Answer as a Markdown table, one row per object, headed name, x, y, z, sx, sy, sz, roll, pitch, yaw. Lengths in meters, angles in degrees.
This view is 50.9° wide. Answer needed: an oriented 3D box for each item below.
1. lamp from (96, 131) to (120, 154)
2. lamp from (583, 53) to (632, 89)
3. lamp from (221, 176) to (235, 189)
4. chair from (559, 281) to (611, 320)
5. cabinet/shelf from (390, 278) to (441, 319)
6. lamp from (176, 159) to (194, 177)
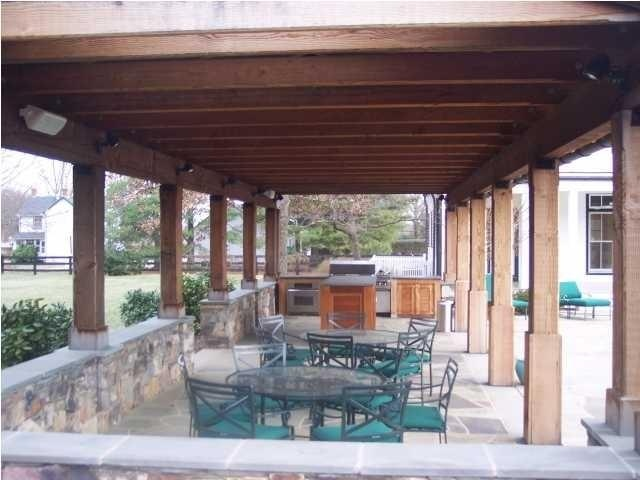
| name | x | y | z | sx | sy | sz | roll | pitch | yaw |
| --- | --- | --- | --- | --- | --- | --- | --- | --- | --- |
| lamp | -2.035 | -0.941 | 6.414 | 0.207 | 0.215 | 0.131 | 2 | 3 | 8 |
| lamp | 1.860 | -1.095 | 4.373 | 0.293 | 0.186 | 0.214 | 2 | -3 | -38 |
| lamp | -1.355 | -0.888 | 9.861 | 0.143 | 0.156 | 0.275 | -15 | 11 | -3 |
| chair | 5.157 | 1.146 | 13.254 | 0.879 | 1.001 | 1.125 | 1 | -5 | -16 |
| cabinet/shelf | 1.888 | 1.118 | 13.097 | 0.729 | 0.691 | 0.314 | 0 | 3 | 6 |
| lamp | -1.649 | -0.856 | 8.071 | 0.145 | 0.104 | 0.207 | -2 | 2 | 7 |
